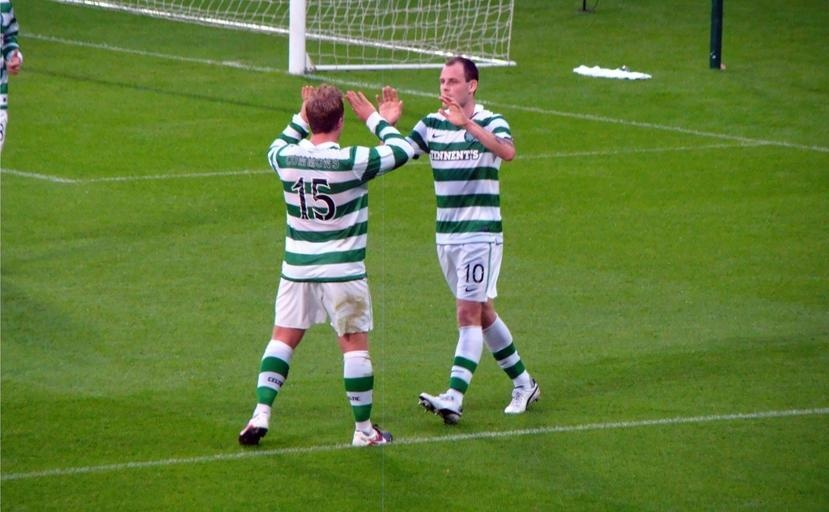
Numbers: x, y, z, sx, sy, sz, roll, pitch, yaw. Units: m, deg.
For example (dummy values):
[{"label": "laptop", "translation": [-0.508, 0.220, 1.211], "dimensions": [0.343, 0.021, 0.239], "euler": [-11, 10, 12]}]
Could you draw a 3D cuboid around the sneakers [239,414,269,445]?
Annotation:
[{"label": "sneakers", "translation": [-1.537, 1.666, 15.866], "dimensions": [0.182, 0.361, 0.179], "euler": [52, 13, 17]}]

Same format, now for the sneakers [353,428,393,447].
[{"label": "sneakers", "translation": [-0.409, 1.720, 15.996], "dimensions": [0.411, 0.166, 0.154], "euler": [-5, 11, -28]}]

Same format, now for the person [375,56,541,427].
[{"label": "person", "translation": [0.499, -0.156, 16.323], "dimensions": [1.124, 3.419, 1.294], "euler": [-9, 18, -35]}]

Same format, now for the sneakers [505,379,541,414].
[{"label": "sneakers", "translation": [1.053, 1.394, 16.455], "dimensions": [0.336, 0.151, 0.112], "euler": [-45, 40, -14]}]
